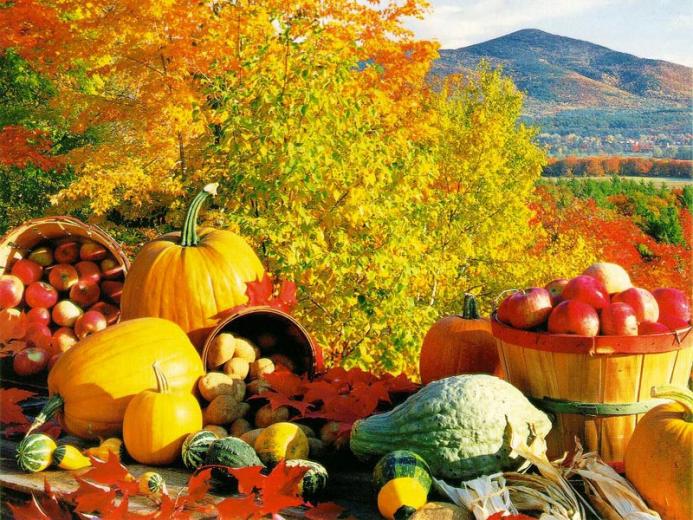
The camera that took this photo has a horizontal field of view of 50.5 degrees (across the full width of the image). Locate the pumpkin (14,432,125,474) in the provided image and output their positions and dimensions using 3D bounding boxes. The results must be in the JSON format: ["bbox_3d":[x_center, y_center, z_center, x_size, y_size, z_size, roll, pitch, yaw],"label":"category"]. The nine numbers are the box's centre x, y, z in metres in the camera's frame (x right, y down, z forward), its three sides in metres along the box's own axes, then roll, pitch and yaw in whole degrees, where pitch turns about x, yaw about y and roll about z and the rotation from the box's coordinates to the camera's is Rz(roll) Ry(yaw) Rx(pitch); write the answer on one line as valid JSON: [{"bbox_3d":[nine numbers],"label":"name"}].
[{"bbox_3d":[-1.013,0.696,2.720,0.365,0.128,0.162,1,7,-6],"label":"pumpkin"}]

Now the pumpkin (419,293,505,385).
[{"bbox_3d":[0.468,0.376,3.301,0.367,0.512,0.371,6,-9,-7],"label":"pumpkin"}]

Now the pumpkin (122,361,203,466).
[{"bbox_3d":[-0.681,0.566,2.736,0.280,0.353,0.215,-1,7,-17],"label":"pumpkin"}]

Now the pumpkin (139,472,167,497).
[{"bbox_3d":[-0.661,0.768,2.511,0.082,0.099,0.082,-25,3,-13],"label":"pumpkin"}]

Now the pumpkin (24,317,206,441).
[{"bbox_3d":[-0.867,0.419,2.879,0.571,0.440,0.594,7,12,39],"label":"pumpkin"}]
